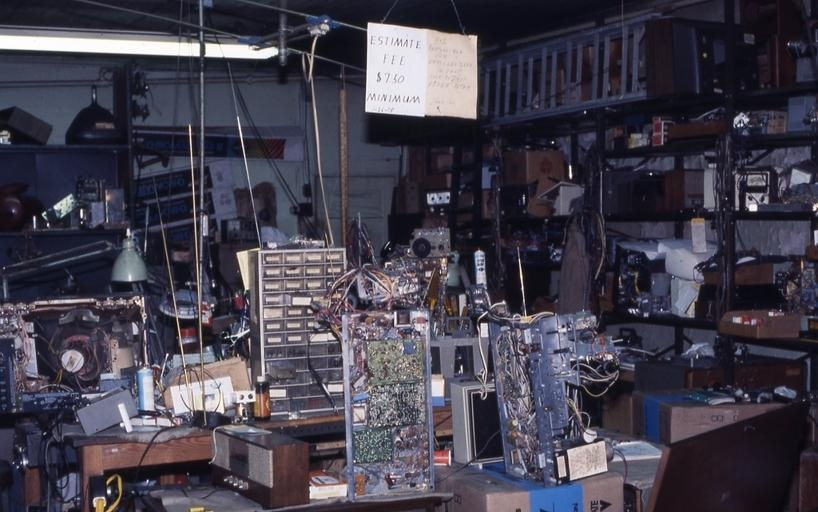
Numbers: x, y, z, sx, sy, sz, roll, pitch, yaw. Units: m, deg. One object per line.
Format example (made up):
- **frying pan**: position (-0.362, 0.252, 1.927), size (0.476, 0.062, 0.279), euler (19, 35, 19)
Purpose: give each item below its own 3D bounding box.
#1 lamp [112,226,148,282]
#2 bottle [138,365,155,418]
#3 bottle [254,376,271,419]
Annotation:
- **lamp**: position (-2.502, 0.011, 12.261), size (0.429, 0.465, 0.439), euler (-3, 4, -34)
- **bottle**: position (-2.206, 1.113, 11.511), size (0.150, 0.370, 0.179), euler (-3, 1, -13)
- **bottle**: position (-1.213, 1.169, 11.356), size (0.144, 0.345, 0.079), euler (-3, 1, -7)
